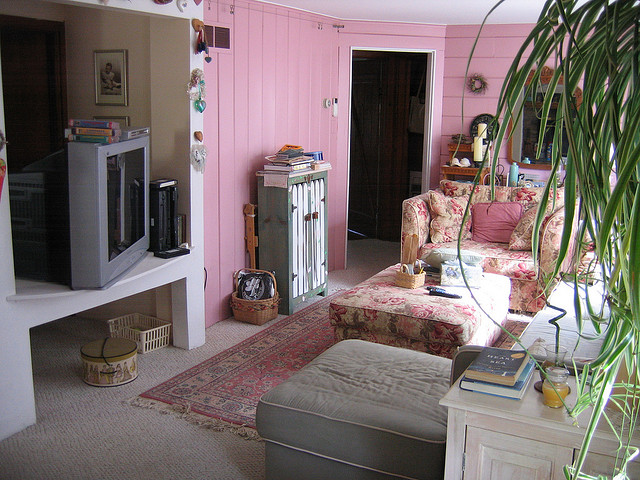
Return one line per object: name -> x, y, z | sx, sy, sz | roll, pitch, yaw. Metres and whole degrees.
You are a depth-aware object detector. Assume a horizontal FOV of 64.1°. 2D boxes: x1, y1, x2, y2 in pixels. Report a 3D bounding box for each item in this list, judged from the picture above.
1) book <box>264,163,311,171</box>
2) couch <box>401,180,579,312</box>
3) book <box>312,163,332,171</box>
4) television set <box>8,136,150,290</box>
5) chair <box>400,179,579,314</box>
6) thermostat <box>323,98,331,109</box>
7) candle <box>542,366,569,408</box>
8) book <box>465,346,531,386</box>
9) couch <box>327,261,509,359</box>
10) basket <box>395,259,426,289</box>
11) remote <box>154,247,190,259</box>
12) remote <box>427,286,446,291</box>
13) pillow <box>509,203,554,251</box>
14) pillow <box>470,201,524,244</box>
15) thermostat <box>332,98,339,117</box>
book -> -0.281, -0.679, 4.766 | 0.432, 0.054, 0.171 | -6, 16, -25
couch -> 1.743, 0.053, 5.351 | 1.472, 1.177, 1.121 | 7, 10, 29
book -> 0.031, -0.734, 5.116 | 0.039, 0.072, 0.347 | 8, 16, 31
television set -> -1.449, -0.180, 3.185 | 0.860, 0.877, 0.515 | -8, 16, -32
chair -> 1.759, 0.029, 5.304 | 1.495, 1.144, 1.100 | 8, 11, 33
thermostat -> 0.088, -1.545, 5.771 | 0.019, 0.117, 0.124 | 10, 17, 37
candle -> 0.773, 0.490, 1.644 | 0.093, 0.143, 0.094 | 8, -24, 16
book -> 0.658, 0.458, 1.865 | 0.191, 0.050, 0.261 | -4, 9, 28
couch -> 0.694, 0.516, 4.148 | 1.119, 0.475, 0.907 | 7, 29, 25
basket -> 0.742, 0.301, 4.198 | 0.176, 0.176, 0.175 | 7, 2, 38
remote -> -1.112, 0.099, 3.850 | 0.165, 0.039, 0.244 | 11, 17, 35
remote -> 0.933, 0.376, 4.048 | 0.138, 0.049, 0.050 | 4, 10, 9
pillow -> 1.626, -0.079, 3.923 | 0.112, 0.384, 0.373 | 17, -1, -4
pillow -> 1.816, -0.169, 5.143 | 0.460, 0.366, 0.345 | 4, 9, 21
thermostat -> 0.188, -1.525, 5.871 | 0.019, 0.210, 0.093 | 12, 17, 41
